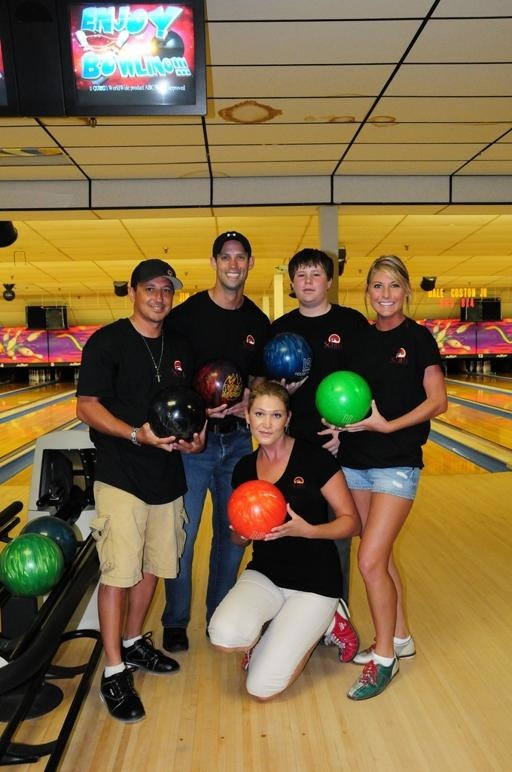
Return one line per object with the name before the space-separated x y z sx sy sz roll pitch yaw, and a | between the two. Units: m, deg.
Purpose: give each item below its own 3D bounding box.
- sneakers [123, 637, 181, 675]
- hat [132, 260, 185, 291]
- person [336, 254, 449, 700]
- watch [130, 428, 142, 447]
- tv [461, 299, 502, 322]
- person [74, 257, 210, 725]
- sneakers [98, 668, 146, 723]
sneakers | -0.314 0.783 1.545 0.214 0.094 0.074 1 -2 12
hat | -0.264 -0.306 1.416 0.098 0.069 0.130 -1 -2 -35
person | 0.374 0.238 1.466 0.275 1.196 0.321 1 2 8
watch | -0.307 0.125 1.306 0.027 0.043 0.039 -2 -5 24
tv | 5.330 -1.791 12.170 0.918 0.656 0.499 0 2 7
person | -0.299 0.244 1.436 0.350 1.196 0.353 2 3 31
sneakers | -0.332 0.770 1.300 0.064 0.074 0.163 -3 1 -23
